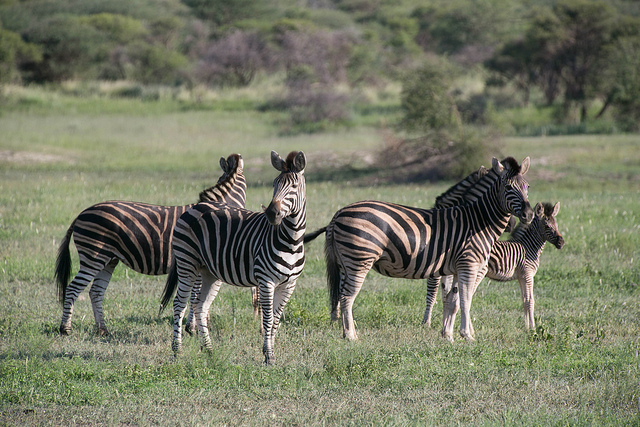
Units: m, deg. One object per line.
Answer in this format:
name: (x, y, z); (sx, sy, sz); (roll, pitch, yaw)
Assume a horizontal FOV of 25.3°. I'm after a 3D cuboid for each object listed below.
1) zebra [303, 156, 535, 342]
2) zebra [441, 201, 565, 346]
zebra: (3.629, 1.327, 48.912); (6.924, 6.463, 2.498); (-1, 6, -6)
zebra: (6.216, 2.000, 48.992); (4.952, 4.509, 1.295); (-2, -11, -26)
